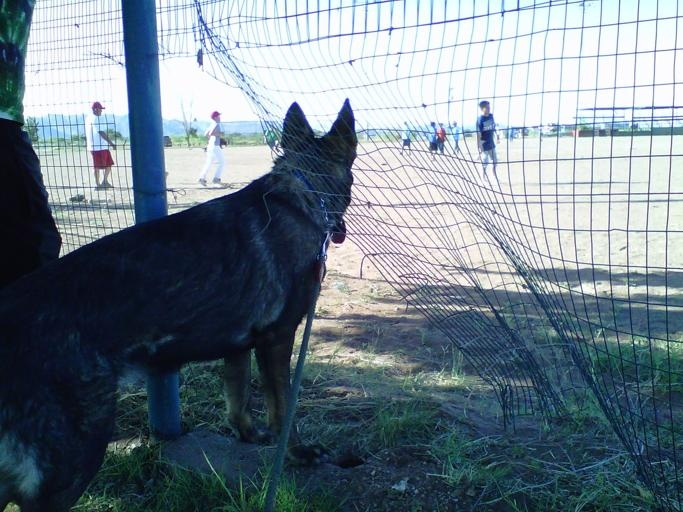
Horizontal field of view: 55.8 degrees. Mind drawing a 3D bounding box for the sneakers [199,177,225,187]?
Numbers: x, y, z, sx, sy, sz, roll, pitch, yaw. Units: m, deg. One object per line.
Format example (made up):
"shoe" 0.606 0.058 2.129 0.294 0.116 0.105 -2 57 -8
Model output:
"sneakers" -2.786 -1.603 13.923 0.627 0.288 0.213 -3 7 -14
